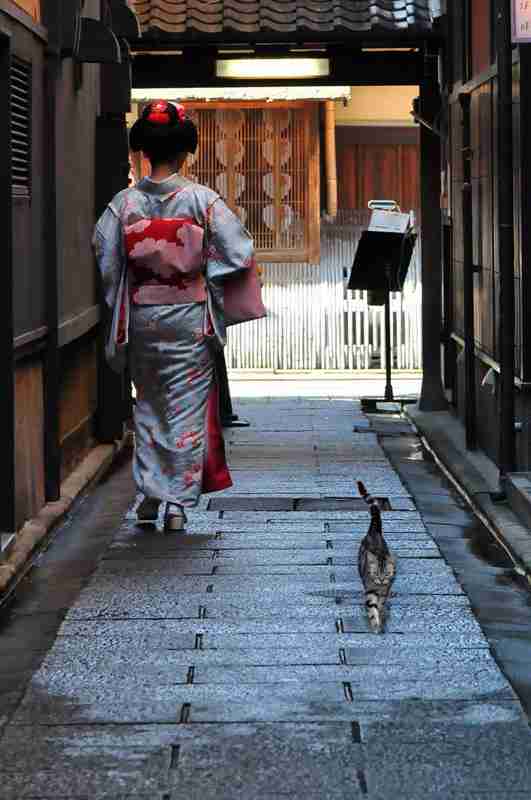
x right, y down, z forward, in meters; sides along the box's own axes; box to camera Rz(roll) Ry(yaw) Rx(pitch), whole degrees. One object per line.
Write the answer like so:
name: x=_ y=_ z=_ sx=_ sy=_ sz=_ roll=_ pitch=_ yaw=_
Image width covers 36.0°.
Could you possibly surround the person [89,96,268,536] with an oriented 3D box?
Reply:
person: x=-0.476 y=-0.474 z=4.444 sx=0.860 sy=2.314 sz=0.412 roll=-3 pitch=3 yaw=-2
